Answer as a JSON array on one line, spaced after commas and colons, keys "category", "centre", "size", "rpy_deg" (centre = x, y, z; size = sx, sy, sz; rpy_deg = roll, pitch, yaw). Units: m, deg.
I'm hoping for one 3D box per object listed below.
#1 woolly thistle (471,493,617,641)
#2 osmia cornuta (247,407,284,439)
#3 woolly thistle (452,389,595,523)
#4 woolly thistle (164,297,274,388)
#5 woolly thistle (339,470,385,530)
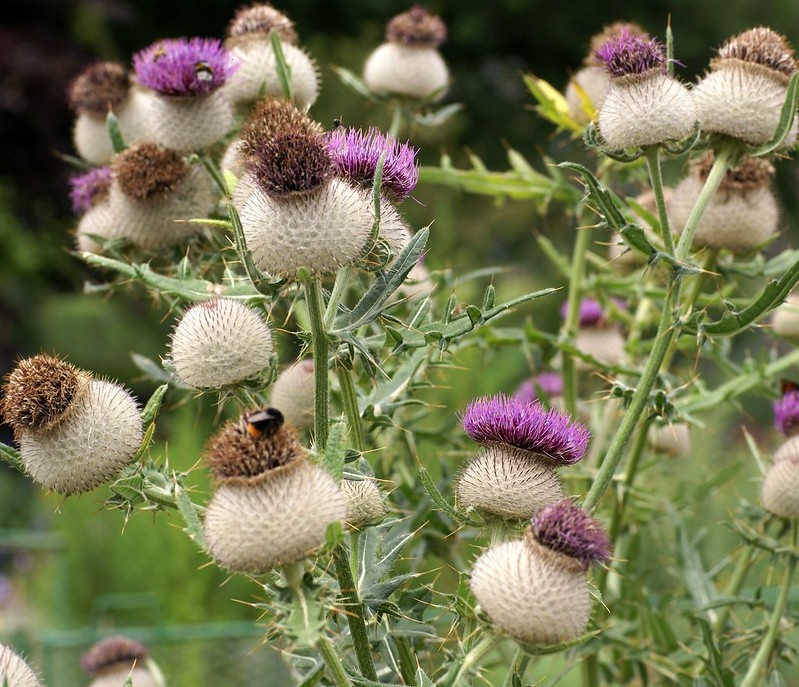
[{"category": "woolly thistle", "centre": [0.546, 0.941, 4.978], "size": [0.502, 0.548, 0.497], "rpy_deg": [16, 27, -17]}, {"category": "osmia cornuta", "centre": [-0.528, 0.310, 4.847], "size": [0.096, 0.159, 0.062], "rpy_deg": [2, 93, -1]}, {"category": "woolly thistle", "centre": [0.495, 0.491, 5.335], "size": [0.495, 0.528, 0.492], "rpy_deg": [19, 69, -3]}, {"category": "woolly thistle", "centre": [-0.768, -0.018, 5.221], "size": [0.443, 0.180, 0.400], "rpy_deg": [-27, 67, -7]}, {"category": "woolly thistle", "centre": [-0.157, 0.669, 5.216], "size": [0.193, 0.204, 0.223], "rpy_deg": [-3, 96, -11]}]
